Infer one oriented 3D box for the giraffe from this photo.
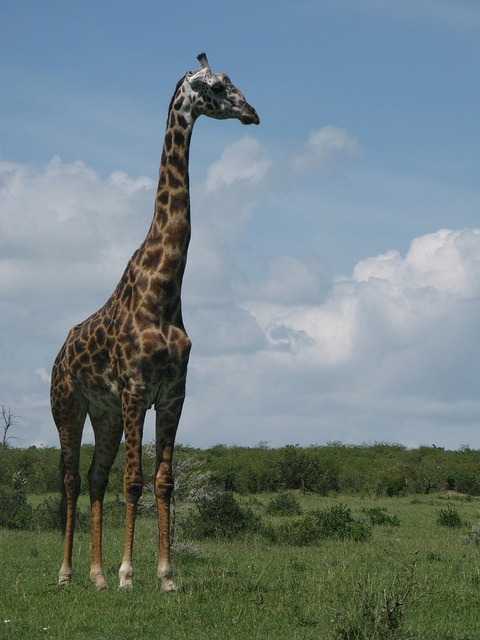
[{"bbox_3d":[-1.644,0.005,21.398,3.179,8.868,1.531,-3,-7,41],"label":"giraffe"}]
